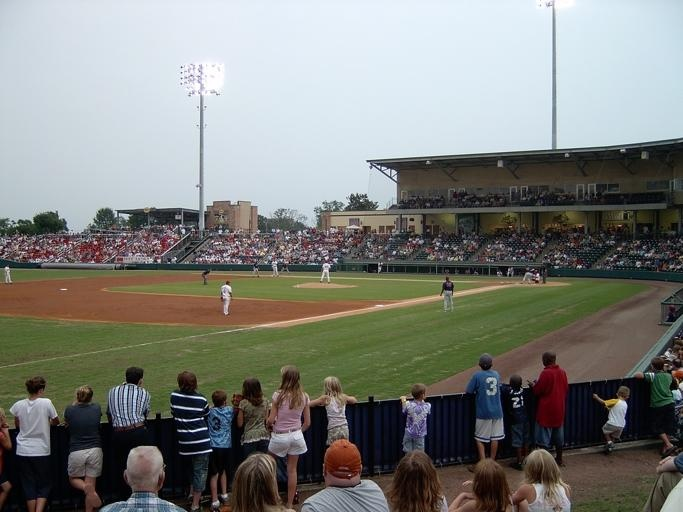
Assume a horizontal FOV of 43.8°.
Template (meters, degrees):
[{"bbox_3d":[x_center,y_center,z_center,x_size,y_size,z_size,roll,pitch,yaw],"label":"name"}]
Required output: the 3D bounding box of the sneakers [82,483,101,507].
[{"bbox_3d":[-4.510,4.342,15.356,0.263,0.130,0.430,-26,49,-34],"label":"sneakers"}]

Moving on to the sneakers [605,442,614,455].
[{"bbox_3d":[5.528,3.928,17.512,0.108,0.140,0.323,2,4,20],"label":"sneakers"}]

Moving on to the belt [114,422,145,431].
[{"bbox_3d":[-3.831,3.086,15.390,0.547,0.152,0.095,-1,-2,-8],"label":"belt"}]

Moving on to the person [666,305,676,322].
[{"bbox_3d":[11.218,1.953,28.861,0.270,0.604,0.786,-2,-2,20],"label":"person"}]

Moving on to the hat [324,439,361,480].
[{"bbox_3d":[0.079,3.069,13.512,0.576,0.435,0.801,5,32,0],"label":"hat"}]
